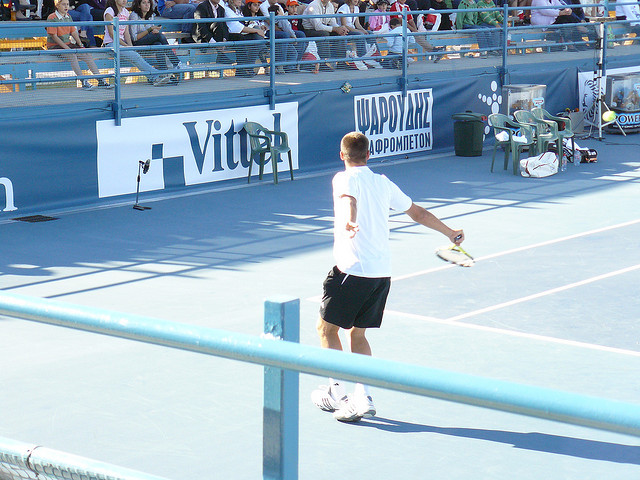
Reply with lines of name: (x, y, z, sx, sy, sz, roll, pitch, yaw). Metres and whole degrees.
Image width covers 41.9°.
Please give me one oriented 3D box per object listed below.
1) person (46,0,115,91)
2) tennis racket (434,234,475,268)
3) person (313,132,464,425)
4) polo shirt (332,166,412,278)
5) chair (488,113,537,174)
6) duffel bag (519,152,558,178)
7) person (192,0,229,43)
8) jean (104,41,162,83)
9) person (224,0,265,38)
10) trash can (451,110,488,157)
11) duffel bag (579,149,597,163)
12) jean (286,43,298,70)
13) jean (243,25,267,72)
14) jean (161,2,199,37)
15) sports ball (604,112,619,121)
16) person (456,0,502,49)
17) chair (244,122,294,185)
person: (-4.753, -3.737, 16.031, 1.155, 1.748, 1.632, 4, 7, -31)
tennis racket: (1.062, 0.079, 6.516, 0.280, 0.263, 0.508, 8, 6, 7)
person: (0.395, 0.306, 6.520, 0.811, 2.248, 0.591, 8, 6, -1)
polo shirt: (0.410, -0.141, 6.460, 0.632, 0.833, 0.453, 6, 6, -13)
chair: (4.179, -2.059, 17.816, 1.050, 1.066, 0.959, -3, 11, -18)
duffel bag: (4.606, -1.573, 17.411, 0.743, 0.259, 0.513, -16, 24, -28)
person: (-2.309, -4.628, 17.697, 0.765, 0.976, 0.857, 4, 7, -25)
jean: (-3.633, -3.412, 16.095, 1.002, 0.645, 0.976, 5, 6, -13)
person: (-1.879, -4.841, 18.239, 1.248, 0.577, 0.840, 16, 22, 19)
trash can: (3.615, -2.547, 19.909, 1.008, 0.967, 0.912, -7, 12, -30)
duffel bag: (6.113, -1.878, 18.787, 0.494, 0.305, 0.211, 6, 6, -4)
jean: (-0.636, -4.064, 18.496, 0.235, 0.551, 0.792, 8, 6, -3)
jean: (-1.443, -4.041, 17.716, 0.510, 1.041, 1.398, 7, 6, -8)
jean: (-3.201, -5.017, 18.853, 0.688, 0.918, 1.632, 5, 6, -20)
sports ball: (7.278, -3.008, 20.386, 0.469, 0.149, 0.310, -6, 6, -10)
person: (4.396, -6.013, 23.168, 1.066, 1.423, 1.256, 6, 6, -16)
chair: (-1.034, -1.736, 16.627, 1.040, 1.013, 0.980, -5, 13, -23)
